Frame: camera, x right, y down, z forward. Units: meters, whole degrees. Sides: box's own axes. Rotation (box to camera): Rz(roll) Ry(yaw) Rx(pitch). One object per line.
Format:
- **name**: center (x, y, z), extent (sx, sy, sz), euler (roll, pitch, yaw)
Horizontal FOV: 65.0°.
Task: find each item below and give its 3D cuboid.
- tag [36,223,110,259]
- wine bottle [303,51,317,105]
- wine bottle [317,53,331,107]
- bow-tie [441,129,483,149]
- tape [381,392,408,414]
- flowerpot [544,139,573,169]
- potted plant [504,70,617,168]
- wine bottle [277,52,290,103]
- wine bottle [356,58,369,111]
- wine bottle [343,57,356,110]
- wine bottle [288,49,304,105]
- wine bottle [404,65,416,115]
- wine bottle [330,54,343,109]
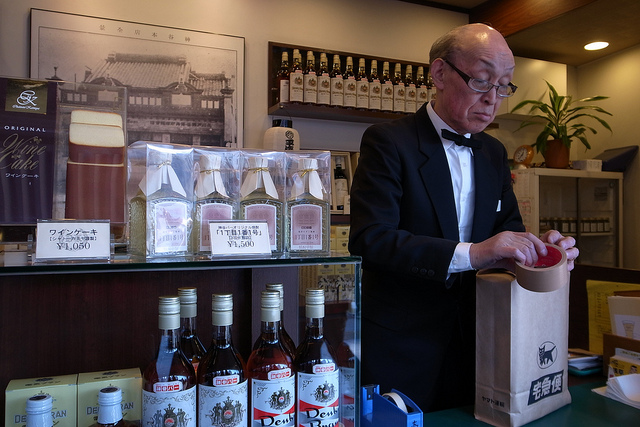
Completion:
- **tag**: center (-0.588, 0.063, 1.210), extent (0.163, 0.099, 0.013), euler (1, 5, -17)
- **wine bottle**: center (-0.065, -0.948, 3.493), extent (0.096, 0.385, 0.105), euler (0, 0, 0)
- **wine bottle**: center (0.033, -0.949, 3.539), extent (0.091, 0.413, 0.142), euler (0, 0, 1)
- **bow-tie**: center (0.556, -0.295, 1.969), extent (0.180, 0.070, 0.055), euler (-1, 1, -20)
- **tape**: center (0.206, 0.508, 1.360), extent (0.043, 0.047, 0.046), euler (-7, -1, -13)
- **flowerpot**: center (1.849, -0.469, 3.946), extent (0.205, 0.226, 0.211), euler (0, -5, 0)
- **potted plant**: center (1.982, -0.713, 4.101), extent (0.707, 0.560, 0.716), euler (1, 9, 11)
- **wine bottle**: center (-0.249, -0.950, 3.499), extent (0.084, 0.382, 0.190), euler (0, 1, -4)
- **wine bottle**: center (0.318, -0.945, 3.670), extent (0.090, 0.409, 0.187), euler (0, 1, 12)
- **wine bottle**: center (0.215, -0.944, 3.636), extent (0.089, 0.399, 0.182), euler (0, 1, 3)
- **wine bottle**: center (-0.162, -0.949, 3.492), extent (0.108, 0.409, 0.193), euler (0, 1, -3)
- **wine bottle**: center (0.688, -0.940, 3.803), extent (0.107, 0.373, 0.109), euler (-5, 18, 2)
- **wine bottle**: center (0.115, -0.897, 3.568), extent (0.092, 0.300, 0.091), euler (0, 0, 0)
